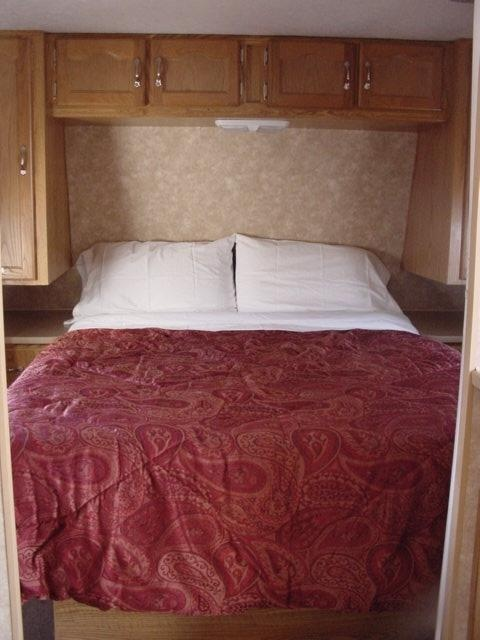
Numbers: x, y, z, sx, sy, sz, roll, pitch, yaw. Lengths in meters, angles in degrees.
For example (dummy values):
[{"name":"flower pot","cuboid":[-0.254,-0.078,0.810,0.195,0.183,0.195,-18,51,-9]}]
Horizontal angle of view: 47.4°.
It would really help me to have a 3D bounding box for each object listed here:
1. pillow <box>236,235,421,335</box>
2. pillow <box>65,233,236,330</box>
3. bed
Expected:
[{"name":"pillow","cuboid":[0.406,-0.215,2.853,0.879,0.405,0.674,0,14,1]},{"name":"pillow","cuboid":[-0.468,-0.195,2.870,0.893,0.420,0.577,-1,14,-2]},{"name":"bed","cuboid":[-0.042,0.399,1.488,0.916,0.267,0.934,1,11,-7]}]
